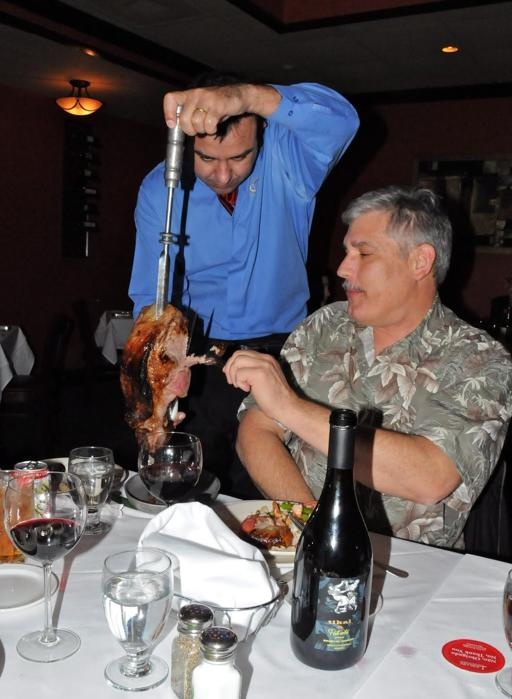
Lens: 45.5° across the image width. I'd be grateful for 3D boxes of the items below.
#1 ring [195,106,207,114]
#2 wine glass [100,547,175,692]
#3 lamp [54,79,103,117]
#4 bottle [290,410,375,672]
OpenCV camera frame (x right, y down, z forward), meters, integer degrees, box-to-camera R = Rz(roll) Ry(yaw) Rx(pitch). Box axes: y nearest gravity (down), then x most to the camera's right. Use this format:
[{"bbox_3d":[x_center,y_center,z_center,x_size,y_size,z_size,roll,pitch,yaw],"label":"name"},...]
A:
[{"bbox_3d":[-0.112,-0.486,1.238,0.016,0.011,0.016,2,16,-1],"label":"ring"},{"bbox_3d":[-0.131,0.297,0.690,0.077,0.137,0.135,0,10,-10],"label":"wine glass"},{"bbox_3d":[-1.692,-2.398,5.881,0.362,0.201,0.347,0,-5,6],"label":"lamp"},{"bbox_3d":[0.086,0.247,0.696,0.089,0.235,0.087,2,10,0],"label":"bottle"}]
